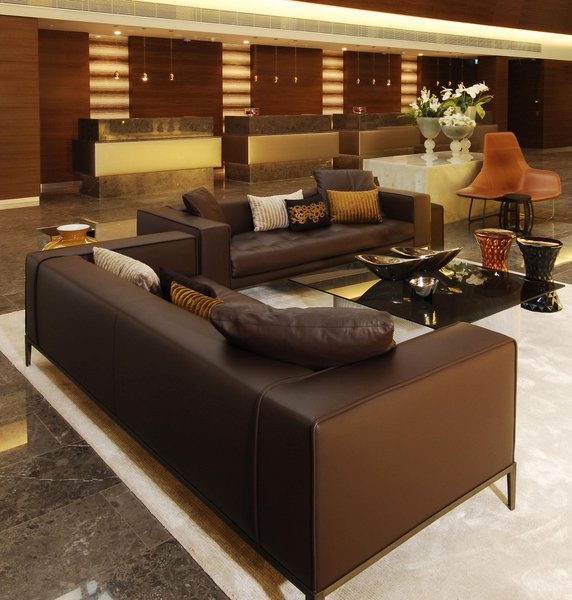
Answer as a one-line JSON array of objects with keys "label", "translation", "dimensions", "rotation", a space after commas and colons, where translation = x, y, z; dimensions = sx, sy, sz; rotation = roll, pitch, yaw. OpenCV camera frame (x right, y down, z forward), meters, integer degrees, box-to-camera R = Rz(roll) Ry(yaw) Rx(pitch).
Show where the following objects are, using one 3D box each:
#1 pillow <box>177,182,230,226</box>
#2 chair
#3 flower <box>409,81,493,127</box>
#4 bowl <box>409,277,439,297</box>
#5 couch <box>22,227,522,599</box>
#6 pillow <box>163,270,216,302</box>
[{"label": "pillow", "translation": [-0.639, -0.736, 3.796], "dimensions": [0.305, 0.259, 0.410], "rotation": [-5, 15, -15]}, {"label": "chair", "translation": [2.822, -1.526, 6.057], "dimensions": [1.407, 1.200, 1.390], "rotation": [-3, 13, 0]}, {"label": "flower", "translation": [2.344, -2.784, 6.794], "dimensions": [0.948, 0.581, 1.129], "rotation": [7, 16, 28]}, {"label": "bowl", "translation": [0.776, -0.084, 2.734], "dimensions": [0.126, 0.072, 0.123], "rotation": [-6, 19, 2]}, {"label": "couch", "translation": [-0.351, 0.214, 2.110], "dimensions": [0.907, 0.703, 2.340], "rotation": [-14, 19, -40]}, {"label": "pillow", "translation": [-0.442, -0.060, 2.183], "dimensions": [0.047, 0.109, 0.184], "rotation": [-30, 32, -36]}]
